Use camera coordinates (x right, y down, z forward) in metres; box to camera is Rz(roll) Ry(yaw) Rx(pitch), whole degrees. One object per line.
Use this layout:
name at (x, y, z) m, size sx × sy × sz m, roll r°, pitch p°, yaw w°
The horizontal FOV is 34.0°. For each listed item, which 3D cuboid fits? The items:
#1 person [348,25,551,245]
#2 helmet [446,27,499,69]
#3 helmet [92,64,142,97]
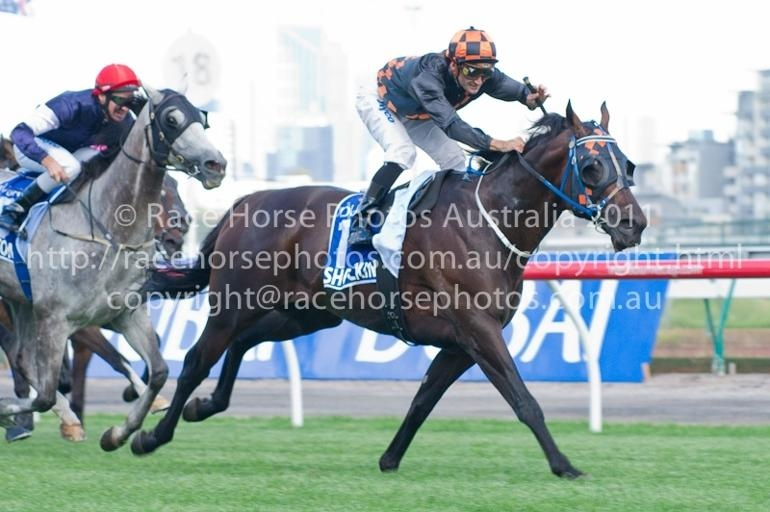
person at (0.352, -0.767, 8.021) m, size 1.335 × 1.295 × 1.101 m, roll -14°, pitch 28°, yaw -35°
helmet at (0.553, -1.317, 7.814) m, size 0.327 × 0.232 × 0.406 m, roll -6°, pitch 15°, yaw -16°
helmet at (-1.716, -1.130, 8.020) m, size 0.382 × 0.179 × 0.108 m, roll 1°, pitch 10°, yaw 12°
